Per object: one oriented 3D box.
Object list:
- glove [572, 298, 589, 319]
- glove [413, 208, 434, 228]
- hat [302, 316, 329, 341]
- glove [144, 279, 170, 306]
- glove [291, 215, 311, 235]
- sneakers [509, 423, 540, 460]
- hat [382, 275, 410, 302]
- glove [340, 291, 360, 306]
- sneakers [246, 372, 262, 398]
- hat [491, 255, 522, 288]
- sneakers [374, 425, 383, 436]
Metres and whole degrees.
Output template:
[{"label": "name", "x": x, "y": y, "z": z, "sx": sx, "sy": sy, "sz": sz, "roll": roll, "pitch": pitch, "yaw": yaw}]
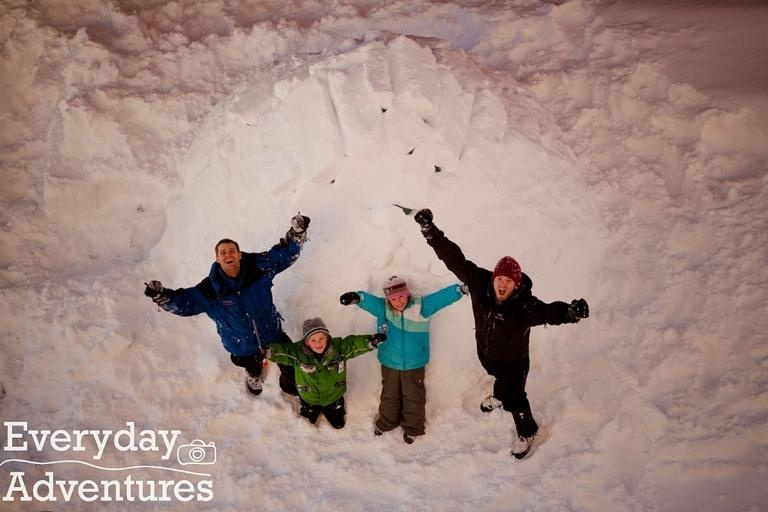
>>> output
[{"label": "glove", "x": 2.666, "y": 0.701, "z": 13.269, "sx": 0.256, "sy": 0.095, "sz": 0.255, "roll": -2, "pitch": 82, "yaw": 31}, {"label": "glove", "x": 0.553, "y": -0.538, "z": 13.690, "sx": 0.203, "sy": 0.229, "sz": 0.257, "roll": 3, "pitch": 97, "yaw": -1}, {"label": "hat", "x": -0.995, "y": 0.980, "z": 13.944, "sx": 0.347, "sy": 0.302, "sz": 0.345, "roll": -14, "pitch": 68, "yaw": -17}, {"label": "glove", "x": -3.127, "y": 0.507, "z": 13.608, "sx": 0.362, "sy": 0.382, "sz": 0.327, "roll": 10, "pitch": 82, "yaw": 8}, {"label": "glove", "x": -1.183, "y": -0.451, "z": 13.907, "sx": 0.211, "sy": 0.247, "sz": 0.270, "roll": 8, "pitch": 90, "yaw": 19}, {"label": "sneakers", "x": 1.964, "y": 2.573, "z": 13.787, "sx": 0.242, "sy": 0.218, "sz": 0.523, "roll": 20, "pitch": 66, "yaw": 25}, {"label": "hat", "x": 0.170, "y": 0.456, "z": 14.123, "sx": 0.336, "sy": 0.294, "sz": 0.420, "roll": 13, "pitch": 63, "yaw": -5}, {"label": "glove", "x": -0.491, "y": 0.572, "z": 14.010, "sx": 0.267, "sy": 0.174, "sz": 0.200, "roll": -14, "pitch": 68, "yaw": -17}, {"label": "sneakers", "x": -1.858, "y": 1.840, "z": 14.222, "sx": 0.243, "sy": 0.363, "sz": 0.220, "roll": 9, "pitch": 51, "yaw": 10}, {"label": "hat", "x": 1.740, "y": 0.220, "z": 13.554, "sx": 0.317, "sy": 0.412, "sz": 0.345, "roll": 7, "pitch": 63, "yaw": 39}, {"label": "sneakers", "x": -0.078, "y": 2.474, "z": 14.084, "sx": 0.094, "sy": 0.043, "sz": 0.122, "roll": -28, "pitch": 106, "yaw": 21}]
